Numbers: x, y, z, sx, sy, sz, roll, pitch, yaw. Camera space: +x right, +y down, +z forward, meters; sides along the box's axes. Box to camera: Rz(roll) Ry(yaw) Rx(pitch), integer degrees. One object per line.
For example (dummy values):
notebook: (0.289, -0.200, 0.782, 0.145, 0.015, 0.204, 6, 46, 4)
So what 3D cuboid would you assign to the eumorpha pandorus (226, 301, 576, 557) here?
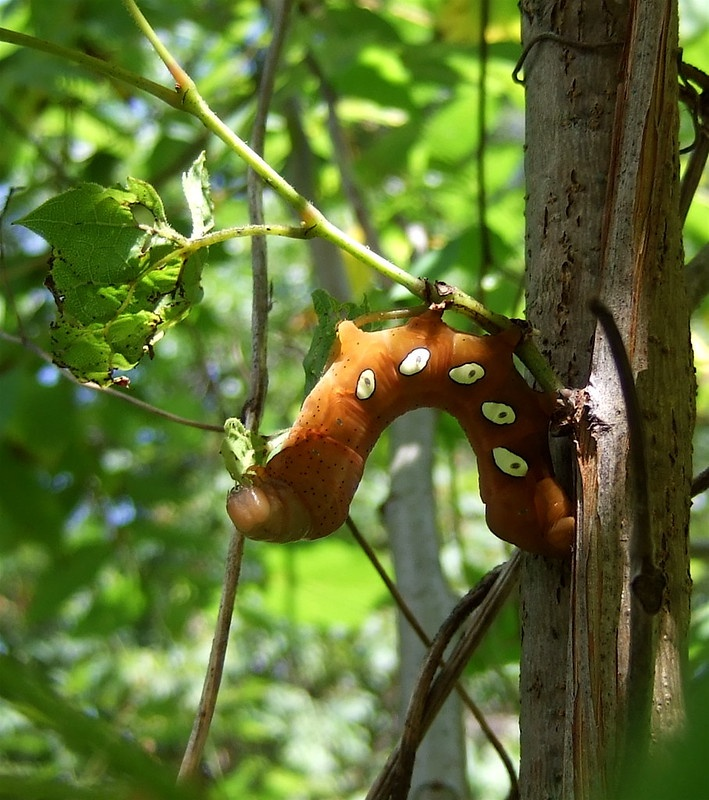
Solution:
eumorpha pandorus: (0.029, 0.023, 0.750, 0.213, 0.160, 0.136, 0, -54, 2)
